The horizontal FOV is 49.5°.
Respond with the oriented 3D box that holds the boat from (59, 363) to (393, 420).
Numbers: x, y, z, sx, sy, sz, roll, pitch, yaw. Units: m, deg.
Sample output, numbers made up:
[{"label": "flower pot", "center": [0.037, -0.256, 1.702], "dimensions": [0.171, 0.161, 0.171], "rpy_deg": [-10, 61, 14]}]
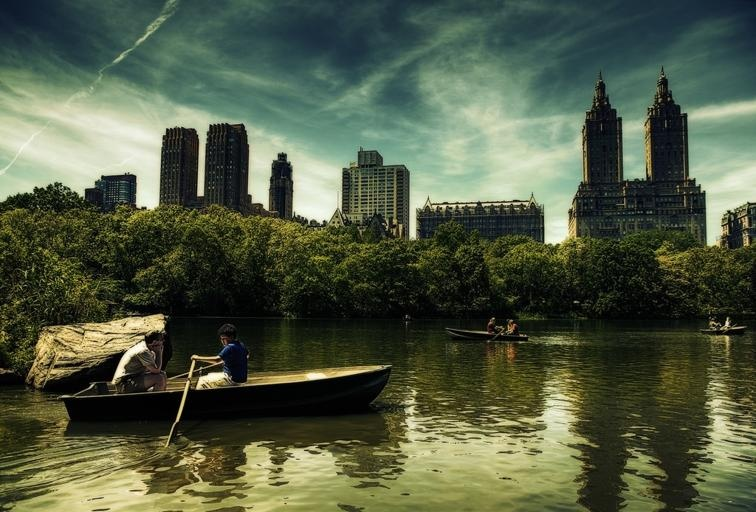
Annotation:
[{"label": "boat", "center": [-7.561, 7.705, 44.705], "dimensions": [20.801, 2.527, 5.522], "rpy_deg": [-2, -2, -5]}]
